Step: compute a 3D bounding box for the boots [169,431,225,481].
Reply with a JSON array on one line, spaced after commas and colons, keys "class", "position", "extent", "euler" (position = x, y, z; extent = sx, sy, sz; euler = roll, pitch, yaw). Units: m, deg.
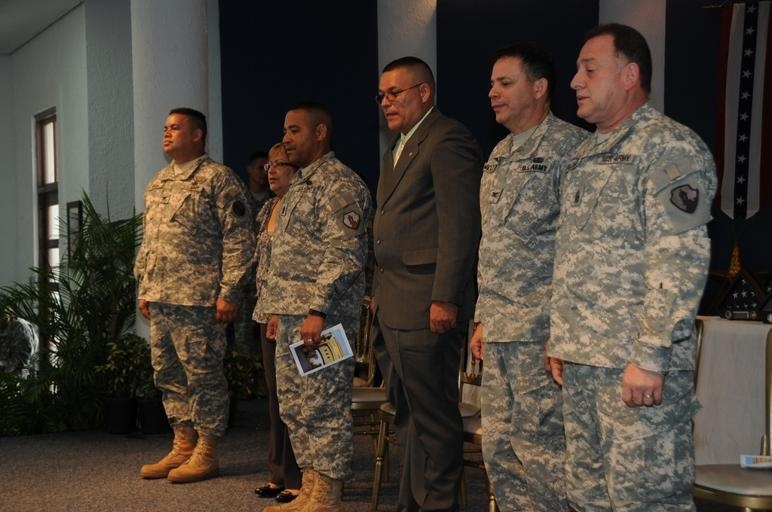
[{"class": "boots", "position": [-1.206, 1.282, 5.098], "extent": [0.331, 0.310, 0.152], "euler": [2, -6, -44]}]

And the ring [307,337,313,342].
[{"class": "ring", "position": [-0.391, 0.434, 4.131], "extent": [0.033, 0.024, 0.003], "euler": [0, 3, 11]}]

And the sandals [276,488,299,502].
[{"class": "sandals", "position": [-0.570, 1.391, 4.651], "extent": [0.163, 0.061, 0.081], "euler": [4, 4, 27]}]

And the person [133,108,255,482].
[{"class": "person", "position": [-1.224, 0.238, 5.108], "extent": [0.790, 2.384, 0.438], "euler": [-1, 3, -3]}]

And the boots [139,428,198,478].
[{"class": "boots", "position": [-1.405, 1.264, 5.177], "extent": [0.157, 0.298, 0.429], "euler": [3, -3, 34]}]
